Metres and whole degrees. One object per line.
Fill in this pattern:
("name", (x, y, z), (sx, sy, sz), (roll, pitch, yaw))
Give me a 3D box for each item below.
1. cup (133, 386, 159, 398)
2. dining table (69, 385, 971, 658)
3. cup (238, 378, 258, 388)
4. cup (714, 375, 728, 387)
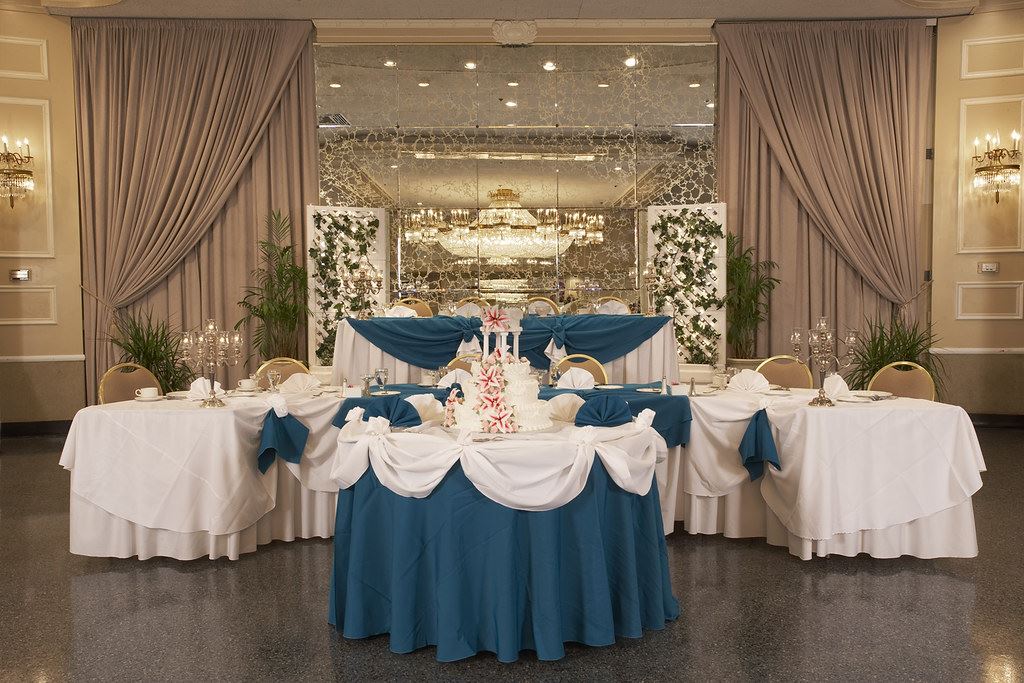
("cup", (-2.971, 0.403, 6.763), (0.115, 0.092, 0.175), (0, -4, -2))
("dining table", (0.174, 1.068, 6.218), (6.801, 1.263, 1.439), (-1, 2, 0))
("cup", (-2.283, 0.341, 7.088), (0.109, 0.085, 0.090), (-2, 6, -9))
("cup", (1.786, 0.319, 7.105), (0.093, 0.107, 0.101), (0, 10, 0))
